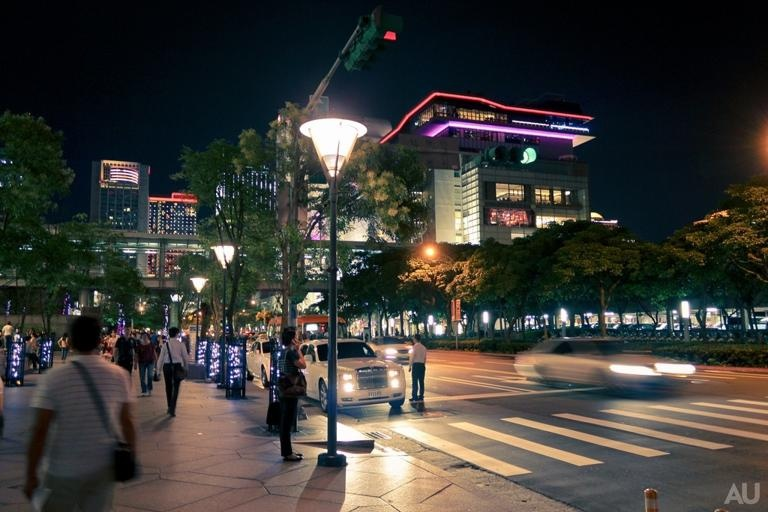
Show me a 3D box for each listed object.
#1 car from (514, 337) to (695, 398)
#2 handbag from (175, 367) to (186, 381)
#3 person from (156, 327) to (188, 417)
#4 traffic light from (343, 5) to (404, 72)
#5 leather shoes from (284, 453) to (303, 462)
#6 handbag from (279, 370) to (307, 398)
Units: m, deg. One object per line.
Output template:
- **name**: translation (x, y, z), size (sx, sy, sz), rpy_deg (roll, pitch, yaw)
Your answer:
- **car**: translation (7.880, 3.977, 24.082), size (5.900, 1.938, 3.807), rpy_deg (-2, -8, 12)
- **handbag**: translation (-6.145, 3.537, 19.689), size (0.238, 0.444, 0.329), rpy_deg (-27, -22, 34)
- **person**: translation (-6.488, 3.490, 20.009), size (0.915, 2.644, 0.906), rpy_deg (-2, 12, 18)
- **traffic light**: translation (-0.304, -5.575, 16.819), size (0.743, 1.011, 1.830), rpy_deg (4, -9, -27)
- **leather shoes**: translation (-2.031, 4.500, 14.597), size (0.270, 0.092, 0.198), rpy_deg (1, -6, 3)
- **handbag**: translation (-2.118, 2.930, 14.963), size (0.651, 0.662, 0.301), rpy_deg (1, -16, -9)
